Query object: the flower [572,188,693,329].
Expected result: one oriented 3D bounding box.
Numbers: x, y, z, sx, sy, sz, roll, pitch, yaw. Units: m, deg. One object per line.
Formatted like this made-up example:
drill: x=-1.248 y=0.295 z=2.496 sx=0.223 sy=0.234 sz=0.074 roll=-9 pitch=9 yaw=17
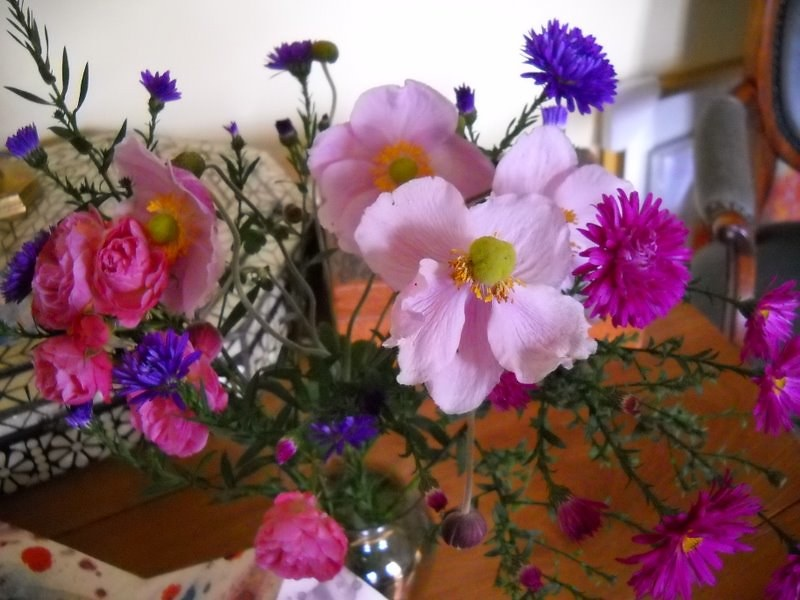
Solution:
flower: x=0.190 y=-0.032 z=0.536 sx=0.086 sy=0.114 sz=0.041 roll=10 pitch=9 yaw=-1
